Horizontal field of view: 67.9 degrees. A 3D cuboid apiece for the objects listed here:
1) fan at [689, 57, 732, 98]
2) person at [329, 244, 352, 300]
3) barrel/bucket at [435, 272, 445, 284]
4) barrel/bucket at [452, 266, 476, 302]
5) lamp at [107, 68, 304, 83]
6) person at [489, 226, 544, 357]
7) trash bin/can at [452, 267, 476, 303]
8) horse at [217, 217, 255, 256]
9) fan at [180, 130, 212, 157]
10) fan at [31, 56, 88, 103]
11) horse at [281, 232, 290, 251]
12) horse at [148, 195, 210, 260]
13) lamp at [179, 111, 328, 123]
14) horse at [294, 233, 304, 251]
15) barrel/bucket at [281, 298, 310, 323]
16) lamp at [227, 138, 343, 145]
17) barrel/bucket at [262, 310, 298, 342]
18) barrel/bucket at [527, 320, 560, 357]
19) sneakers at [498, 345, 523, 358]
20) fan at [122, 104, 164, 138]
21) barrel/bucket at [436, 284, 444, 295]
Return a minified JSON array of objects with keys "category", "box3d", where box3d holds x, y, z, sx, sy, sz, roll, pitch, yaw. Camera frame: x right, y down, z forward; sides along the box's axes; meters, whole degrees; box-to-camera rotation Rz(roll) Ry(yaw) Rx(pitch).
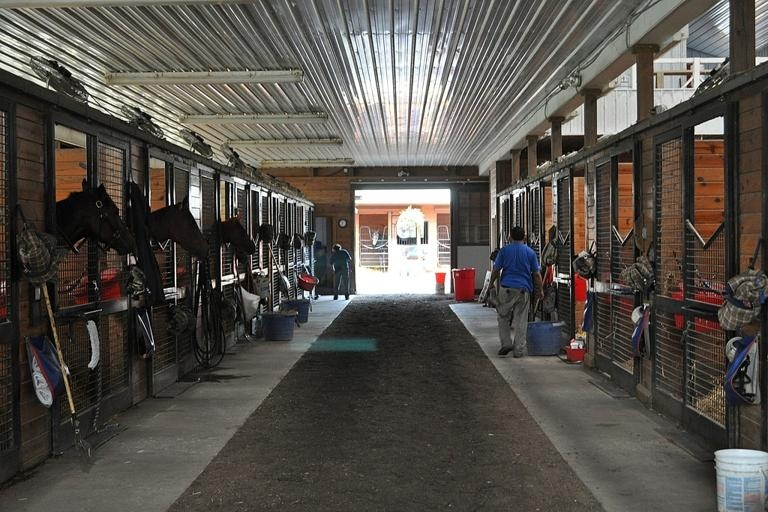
[{"category":"fan","box3d":[2.959,-1.587,5.122,0.336,0.088,0.086,-47,-16,33]},{"category":"person","box3d":[-1.246,0.463,15.992,0.707,1.924,0.575,-5,-40,-2]},{"category":"barrel/bucket","box3d":[1.629,0.625,16.498,0.270,0.370,0.419,0,4,10]},{"category":"barrel/bucket","box3d":[2.096,0.736,15.121,0.808,1.022,0.731,0,-7,-2]},{"category":"lamp","box3d":[-2.748,-2.723,8.683,3.066,0.203,0.276,0,4,5]},{"category":"person","box3d":[1.882,0.502,8.248,0.676,1.859,0.468,-1,4,-9]},{"category":"trash bin/can","box3d":[2.125,0.692,15.072,0.595,0.794,0.557,1,2,19]},{"category":"horse","box3d":[-2.248,-0.316,8.635,0.492,0.521,0.235,-1,4,-1]},{"category":"fan","box3d":[-2.682,-1.609,8.113,0.351,0.415,0.516,-1,4,-7]},{"category":"fan","box3d":[-2.908,-1.583,5.117,0.437,0.431,0.503,-3,4,-30]},{"category":"horse","box3d":[-2.197,-0.328,12.615,0.184,0.408,0.747,-1,4,-5]},{"category":"horse","box3d":[-2.448,-0.280,6.519,0.430,0.704,0.580,3,28,42]},{"category":"lamp","box3d":[-2.577,-2.765,11.458,2.946,0.192,0.501,0,4,7]},{"category":"horse","box3d":[-2.115,-0.369,13.869,0.191,0.385,0.697,-1,4,-7]},{"category":"barrel/bucket","box3d":[-1.735,1.078,11.377,0.470,0.369,0.485,-1,0,0]},{"category":"lamp","box3d":[-2.360,-2.788,13.929,2.752,0.164,0.344,0,4,11]},{"category":"barrel/bucket","box3d":[-1.783,1.173,9.591,0.480,0.375,0.476,0,-8,0]},{"category":"barrel/bucket","box3d":[2.308,1.183,8.288,0.483,0.379,0.465,1,-7,0]},{"category":"sneakers","box3d":[1.819,1.359,8.203,0.375,0.166,0.153,3,1,19]},{"category":"fan","box3d":[-2.762,-1.535,6.590,0.288,0.210,0.702,13,-2,9]},{"category":"barrel/bucket","box3d":[1.653,0.953,16.738,0.244,0.308,0.297,-1,4,-1]}]
